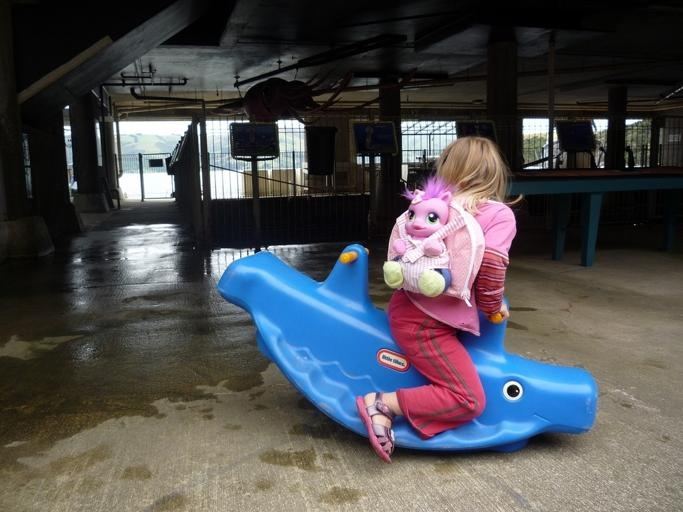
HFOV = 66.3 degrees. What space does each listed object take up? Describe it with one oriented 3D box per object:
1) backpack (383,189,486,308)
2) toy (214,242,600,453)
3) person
[{"bbox_3d":[0.462,-0.059,2.608,0.331,0.521,0.568,8,1,-35],"label":"backpack"},{"bbox_3d":[0.296,0.437,2.831,2.085,0.791,0.767,15,18,17],"label":"toy"},{"bbox_3d":[0.534,0.221,2.734,0.849,1.640,0.729,3,10,-5],"label":"person"}]
